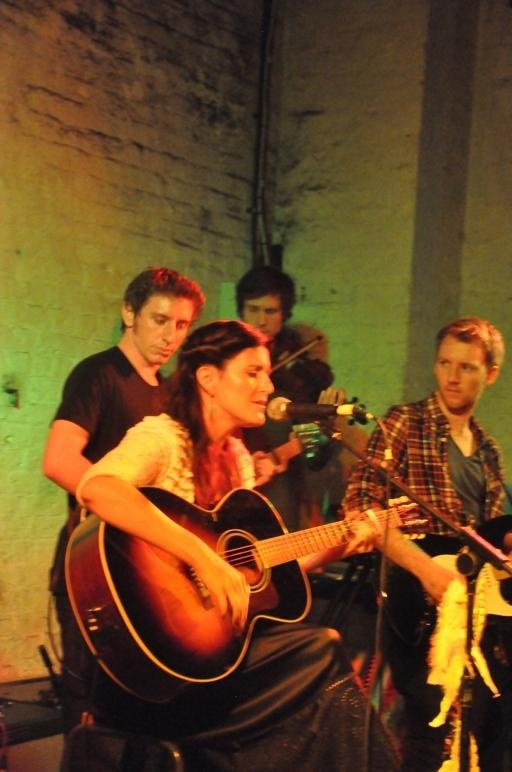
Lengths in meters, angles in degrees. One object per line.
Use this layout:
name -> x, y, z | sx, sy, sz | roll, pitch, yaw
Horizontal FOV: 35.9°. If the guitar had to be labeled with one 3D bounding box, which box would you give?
guitar -> 0.100, 0.572, 2.697 | 1.444, 0.587, 0.165 | -9, -23, -42
